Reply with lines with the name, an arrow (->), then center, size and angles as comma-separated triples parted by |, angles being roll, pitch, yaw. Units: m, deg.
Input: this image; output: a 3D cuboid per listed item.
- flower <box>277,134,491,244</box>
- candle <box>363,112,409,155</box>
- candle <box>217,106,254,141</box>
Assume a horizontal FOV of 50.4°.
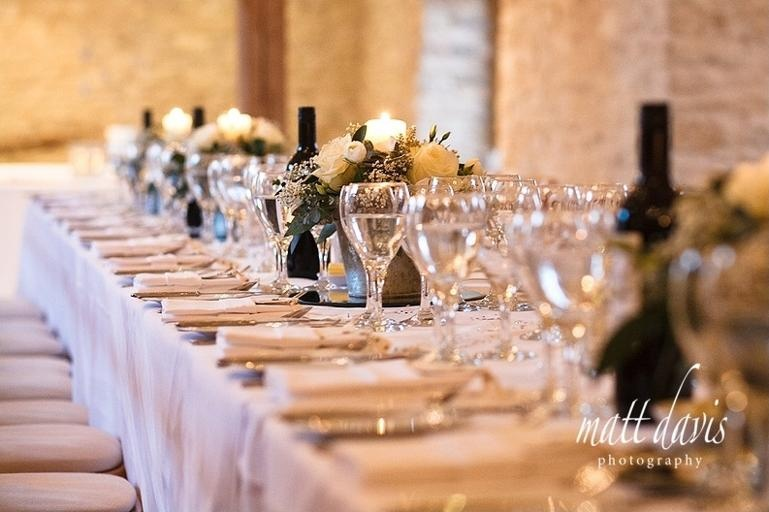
flower -> -0.030, -0.119, 1.871 | 0.288, 0.143, 0.293 | -8, -2, 27
candle -> -0.008, -0.289, 1.914 | 0.103, 0.100, 0.106 | 4, 4, 18
candle -> -0.723, -0.644, 3.905 | 0.167, 0.168, 0.102 | 6, -5, -21
